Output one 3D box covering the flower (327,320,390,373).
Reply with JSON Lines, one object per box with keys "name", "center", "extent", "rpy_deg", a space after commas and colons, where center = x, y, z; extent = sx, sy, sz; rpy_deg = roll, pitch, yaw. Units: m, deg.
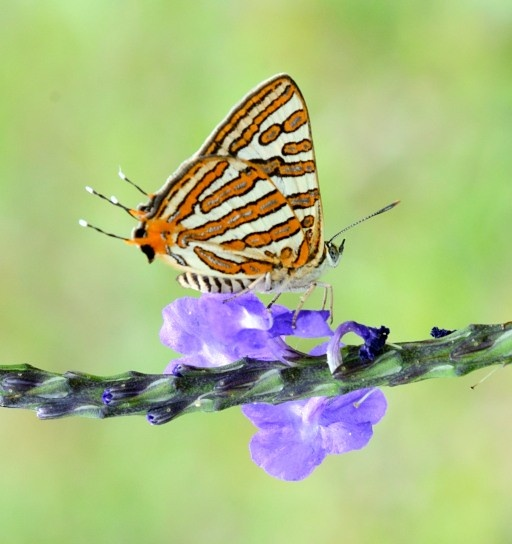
{"name": "flower", "center": [0.210, 0.146, 1.452], "extent": [0.141, 0.105, 0.063], "rpy_deg": [-12, -51, 7]}
